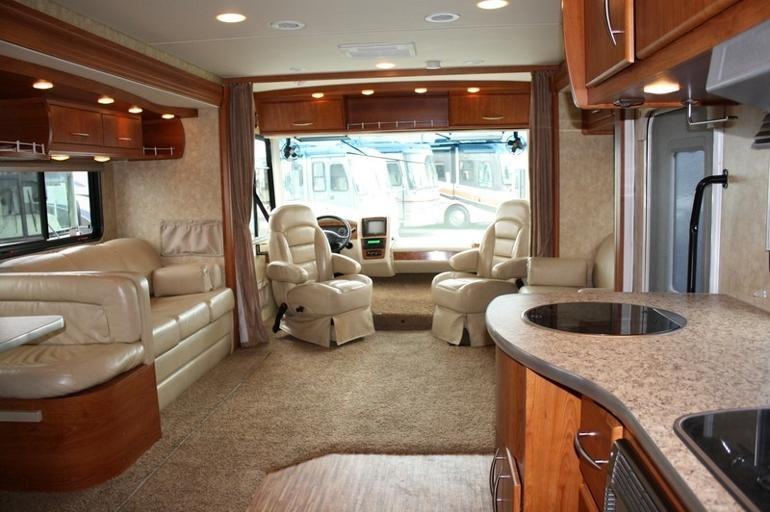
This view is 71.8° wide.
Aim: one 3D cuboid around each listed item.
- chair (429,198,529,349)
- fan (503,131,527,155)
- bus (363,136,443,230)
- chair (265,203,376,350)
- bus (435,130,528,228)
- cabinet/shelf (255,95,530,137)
[{"bbox_3d":[0.991,0.117,5.336,1.072,1.260,0.933,-10,11,-19],"label":"chair"},{"bbox_3d":[1.607,-1.371,6.492,0.209,0.240,0.097,1,18,11],"label":"fan"},{"bbox_3d":[0.088,-1.047,7.307,1.487,1.001,0.770,12,21,41],"label":"bus"},{"bbox_3d":[-0.656,0.156,5.437,1.135,1.197,0.921,9,15,25],"label":"chair"},{"bbox_3d":[0.922,-1.022,7.354,0.783,1.182,2.281,-3,8,-39],"label":"bus"},{"bbox_3d":[0.124,-1.565,5.846,2.991,0.462,0.369,-3,10,-4],"label":"cabinet/shelf"}]
